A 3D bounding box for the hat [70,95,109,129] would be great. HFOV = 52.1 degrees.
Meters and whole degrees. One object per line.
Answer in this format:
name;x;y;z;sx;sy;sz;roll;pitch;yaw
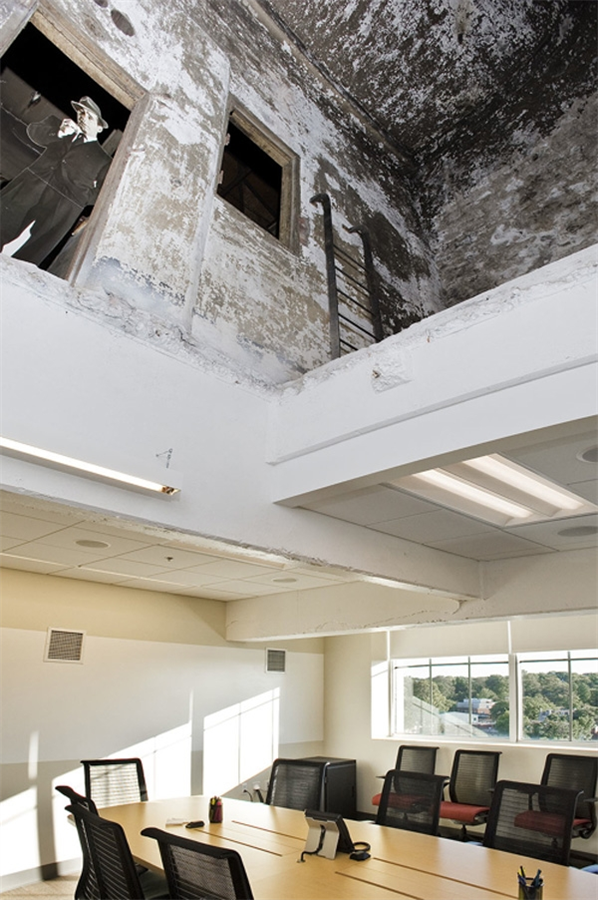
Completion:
hat;-1.578;-2.584;4.621;0.249;0.107;0.318;31;6;-44
